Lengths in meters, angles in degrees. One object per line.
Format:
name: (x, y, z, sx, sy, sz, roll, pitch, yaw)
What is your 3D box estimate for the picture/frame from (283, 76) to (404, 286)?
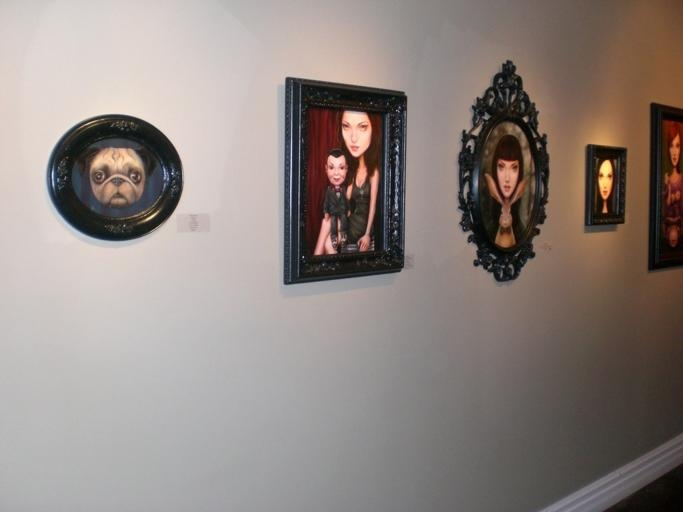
picture/frame: (-0.013, -0.400, 3.066, 0.848, 1.353, 0.116, -3, 6, -36)

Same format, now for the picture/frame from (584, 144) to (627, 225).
picture/frame: (1.789, -0.495, 4.170, 0.445, 0.627, 0.071, -4, 4, -39)
